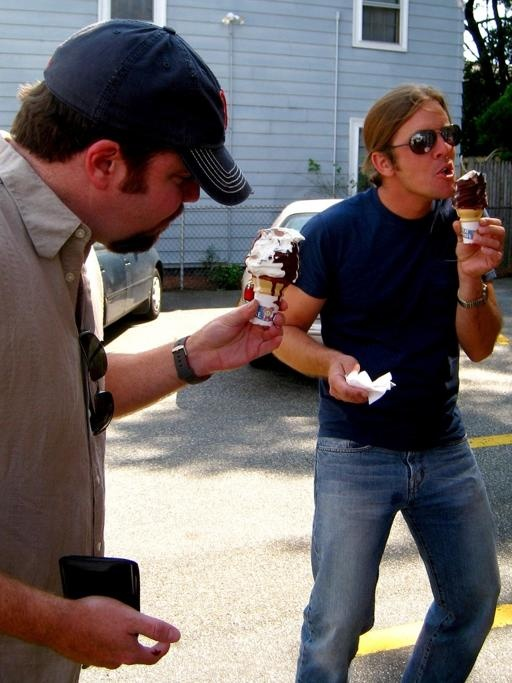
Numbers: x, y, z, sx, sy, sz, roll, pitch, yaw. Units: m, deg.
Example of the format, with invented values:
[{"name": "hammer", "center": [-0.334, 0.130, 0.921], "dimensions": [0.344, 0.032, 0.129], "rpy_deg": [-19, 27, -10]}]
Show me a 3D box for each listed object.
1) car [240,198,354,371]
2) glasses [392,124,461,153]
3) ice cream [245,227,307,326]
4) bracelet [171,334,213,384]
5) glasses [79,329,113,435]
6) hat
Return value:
[{"name": "car", "center": [0.454, -0.880, 7.282], "dimensions": [1.064, 0.840, 2.043], "rpy_deg": [0, 20, 4]}, {"name": "glasses", "center": [0.585, -0.692, 2.447], "dimensions": [0.191, 0.059, 0.217], "rpy_deg": [-16, 15, -26]}, {"name": "ice cream", "center": [0.055, -0.228, 2.254], "dimensions": [0.251, 0.310, 0.180], "rpy_deg": [5, 14, 4]}, {"name": "bracelet", "center": [-0.204, 0.051, 2.086], "dimensions": [0.137, 0.121, 0.137], "rpy_deg": [0, 12, -10]}, {"name": "glasses", "center": [-0.368, 0.109, 1.668], "dimensions": [0.078, 0.215, 0.237], "rpy_deg": [-9, -2, -13]}, {"name": "hat", "center": [-0.215, -0.569, 1.660], "dimensions": [0.580, 0.265, 0.345], "rpy_deg": [20, 29, -10]}]
